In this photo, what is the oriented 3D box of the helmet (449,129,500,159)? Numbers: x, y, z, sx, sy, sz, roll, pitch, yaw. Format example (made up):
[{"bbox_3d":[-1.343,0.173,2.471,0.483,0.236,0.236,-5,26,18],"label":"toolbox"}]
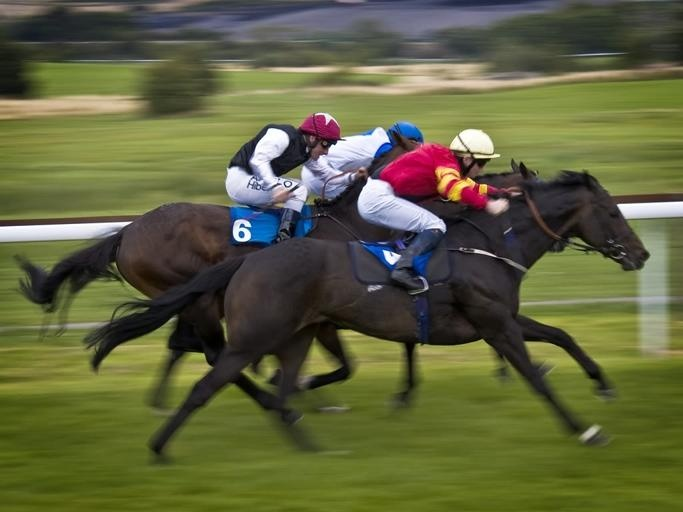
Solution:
[{"bbox_3d":[0.864,-0.729,6.921,0.340,0.109,0.204,0,15,2],"label":"helmet"}]

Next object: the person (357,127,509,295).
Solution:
[{"bbox_3d":[0.724,-0.354,6.937,0.926,0.991,1.132,-22,24,-35],"label":"person"}]

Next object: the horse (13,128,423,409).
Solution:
[{"bbox_3d":[-0.514,0.124,7.112,3.735,1.476,0.632,-4,17,21],"label":"horse"}]

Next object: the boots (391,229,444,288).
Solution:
[{"bbox_3d":[0.480,0.035,6.695,0.197,0.358,0.365,6,21,27],"label":"boots"}]

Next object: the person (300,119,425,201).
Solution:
[{"bbox_3d":[0.200,-0.639,7.601,0.331,0.412,1.042,27,-33,-34],"label":"person"}]

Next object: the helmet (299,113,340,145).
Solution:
[{"bbox_3d":[-0.128,-0.865,7.205,0.319,0.139,0.186,14,14,-9],"label":"helmet"}]

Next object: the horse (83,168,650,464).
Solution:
[{"bbox_3d":[0.265,0.399,7.083,4.172,1.307,0.571,-6,1,22],"label":"horse"}]
